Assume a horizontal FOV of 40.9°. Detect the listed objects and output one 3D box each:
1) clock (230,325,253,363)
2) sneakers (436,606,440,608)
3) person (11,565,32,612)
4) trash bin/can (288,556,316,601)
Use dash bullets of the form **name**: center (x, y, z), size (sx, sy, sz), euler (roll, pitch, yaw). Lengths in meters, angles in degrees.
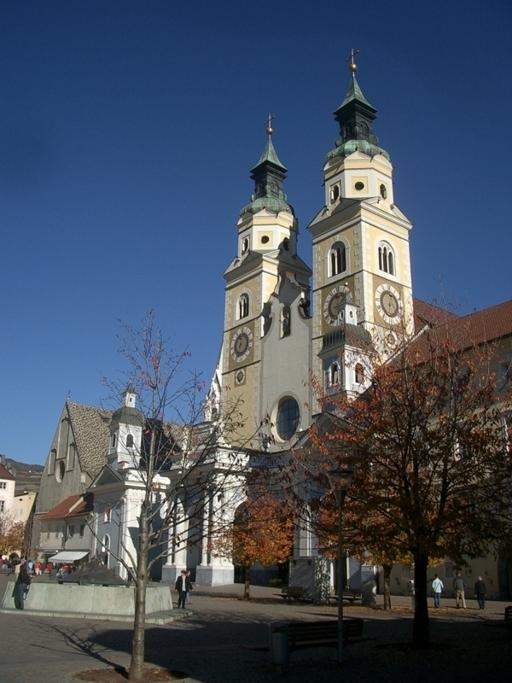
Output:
- **clock**: center (-1.007, 0.212, 51.488), size (0.151, 2.373, 2.367), euler (16, -24, -24)
- **sneakers**: center (6.595, 9.613, 24.809), size (0.094, 0.058, 0.549), euler (-4, -23, 15)
- **person**: center (-7.440, 7.835, 21.850), size (0.519, 1.404, 2.059), euler (9, -23, -16)
- **trash bin/can**: center (1.993, 10.104, 29.094), size (1.005, 1.549, 1.632), euler (8, -16, -33)
